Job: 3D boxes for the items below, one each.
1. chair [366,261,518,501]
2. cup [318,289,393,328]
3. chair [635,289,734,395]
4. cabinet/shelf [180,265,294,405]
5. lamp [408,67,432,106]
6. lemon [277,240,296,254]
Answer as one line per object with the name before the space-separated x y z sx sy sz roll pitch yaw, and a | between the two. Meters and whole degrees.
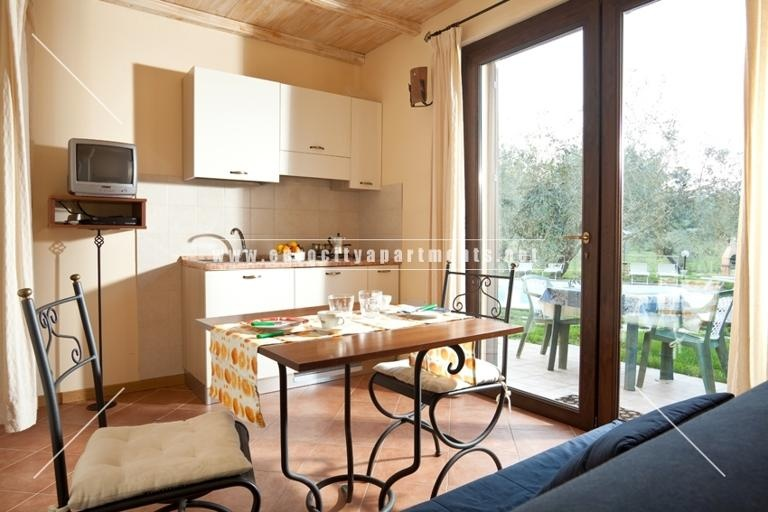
chair | 0.365 0.753 3.485 0.864 1.316 0.762 -1 1 -27
cup | -0.174 0.292 3.068 0.160 0.117 0.386 0 3 33
chair | 2.017 0.552 3.592 0.410 0.683 0.497 0 1 -43
cabinet/shelf | -1.348 0.587 4.796 0.837 1.138 0.926 6 8 35
lamp | 0.330 -1.501 4.734 0.256 0.268 0.208 2 16 23
lemon | -0.872 -0.095 4.882 0.144 0.058 0.142 -5 5 -31
